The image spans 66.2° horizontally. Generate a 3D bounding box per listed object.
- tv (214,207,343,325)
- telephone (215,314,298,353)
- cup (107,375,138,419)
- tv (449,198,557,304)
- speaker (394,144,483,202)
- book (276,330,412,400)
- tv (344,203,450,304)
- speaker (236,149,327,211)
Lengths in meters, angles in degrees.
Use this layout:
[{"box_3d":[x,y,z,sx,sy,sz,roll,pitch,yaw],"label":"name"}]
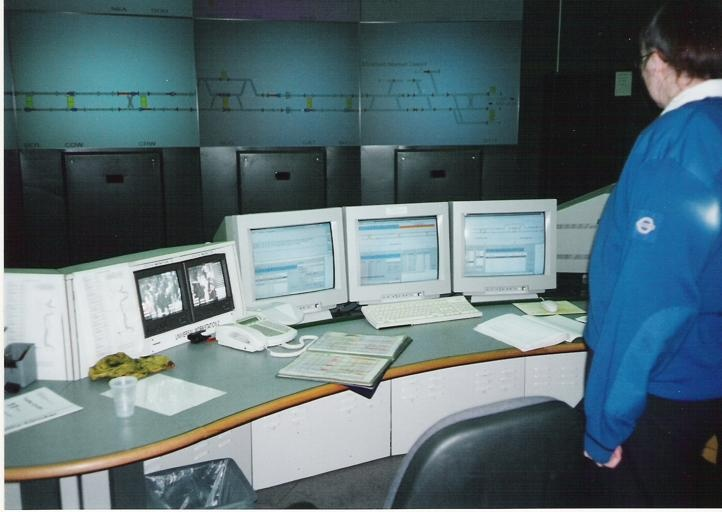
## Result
[{"box_3d":[-0.452,0.046,2.783,0.658,0.580,0.505,-7,12,-33],"label":"tv"},{"box_3d":[-0.458,0.333,2.420,0.324,0.100,0.311,3,8,7],"label":"telephone"},{"box_3d":[-0.821,0.474,1.909,0.083,0.137,0.119,-10,10,-25],"label":"cup"},{"box_3d":[0.709,-0.030,2.982,0.549,0.482,0.372,-2,3,-8],"label":"tv"},{"box_3d":[0.620,-0.639,4.540,0.841,0.528,0.439,2,19,17],"label":"speaker"},{"box_3d":[-0.056,0.446,2.257,0.264,0.065,0.290,3,26,26],"label":"book"},{"box_3d":[0.160,-0.013,2.764,0.544,0.443,0.275,-3,2,-14],"label":"tv"},{"box_3d":[-0.546,-0.548,4.436,0.795,0.579,0.433,3,7,17],"label":"speaker"}]
